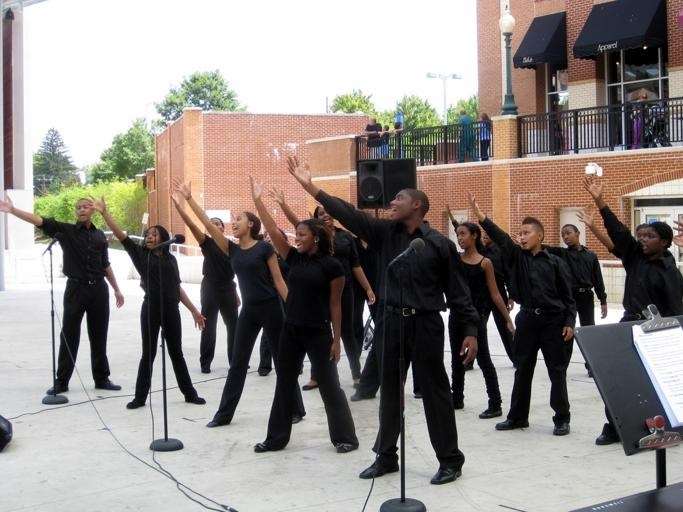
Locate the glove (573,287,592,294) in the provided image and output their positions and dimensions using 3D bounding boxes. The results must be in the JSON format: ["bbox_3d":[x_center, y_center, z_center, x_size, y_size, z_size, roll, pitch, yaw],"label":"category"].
[{"bbox_3d":[3.933,0.546,11.547,0.339,0.078,0.080,-2,3,-20],"label":"glove"}]

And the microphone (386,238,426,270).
[{"bbox_3d":[0.631,-0.069,6.117,0.156,0.150,0.600,-4,19,41],"label":"microphone"}]

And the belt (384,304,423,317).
[{"bbox_3d":[0.555,0.508,6.672,0.366,0.102,0.152,0,3,29],"label":"belt"}]

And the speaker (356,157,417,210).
[{"bbox_3d":[0.814,-1.299,12.937,0.991,0.896,0.553,2,10,28],"label":"speaker"}]
